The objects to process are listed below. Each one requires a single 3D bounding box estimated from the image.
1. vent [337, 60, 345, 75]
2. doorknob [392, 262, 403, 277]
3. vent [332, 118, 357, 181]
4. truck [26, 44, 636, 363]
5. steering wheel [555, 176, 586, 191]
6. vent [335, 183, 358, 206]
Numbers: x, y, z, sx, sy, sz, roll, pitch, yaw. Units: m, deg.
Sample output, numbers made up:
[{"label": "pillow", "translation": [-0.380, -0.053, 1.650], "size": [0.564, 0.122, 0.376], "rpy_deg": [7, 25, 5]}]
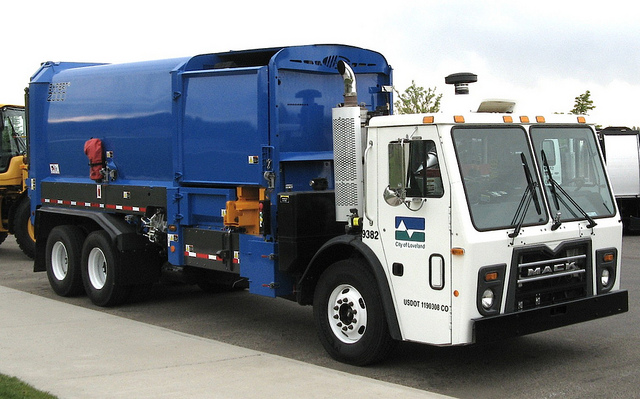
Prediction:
[{"label": "vent", "translation": [0.317, -1.964, 8.307], "size": [0.124, 0.178, 0.046], "rpy_deg": [5, 6, 37]}, {"label": "doorknob", "translation": [1.013, 0.919, 7.334], "size": [0.144, 0.193, 0.141], "rpy_deg": [1, 0, -44]}, {"label": "vent", "translation": [0.348, -0.702, 7.825], "size": [0.414, 0.872, 0.085], "rpy_deg": [3, 3, 44]}, {"label": "truck", "translation": [-0.559, 0.004, 10.009], "size": [9.265, 4.270, 5.191], "rpy_deg": [2, 4, 43]}, {"label": "steering wheel", "translation": [3.523, -0.257, 7.826], "size": [0.292, 0.105, 0.299], "rpy_deg": [-9, -6, -1]}, {"label": "vent", "translation": [0.363, -0.078, 7.845], "size": [0.306, 0.300, 0.076], "rpy_deg": [3, 7, 41]}]
